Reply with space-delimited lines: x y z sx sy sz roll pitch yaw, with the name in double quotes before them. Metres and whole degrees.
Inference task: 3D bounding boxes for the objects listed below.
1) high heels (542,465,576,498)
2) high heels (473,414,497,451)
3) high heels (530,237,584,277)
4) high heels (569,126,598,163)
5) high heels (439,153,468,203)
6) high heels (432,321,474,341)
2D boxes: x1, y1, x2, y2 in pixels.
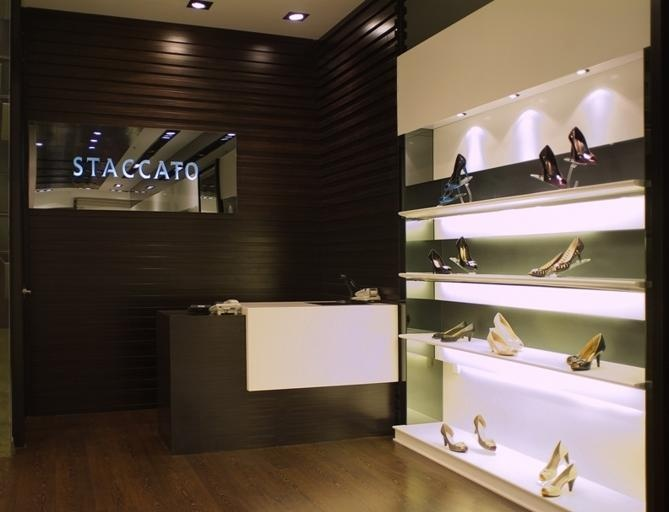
"high heels" 1.343 1.319 2.984 0.182 0.156 0.290 2 2 26
"high heels" 1.123 1.307 3.720 0.104 0.145 0.314 1 12 -15
"high heels" 1.378 0.011 3.106 0.235 0.245 0.216 1 2 -5
"high heels" 1.526 -0.687 3.061 0.148 0.248 0.215 2 3 26
"high heels" 0.967 -0.563 4.017 0.192 0.144 0.470 11 -40 6
"high heels" 0.953 0.598 3.917 0.211 0.100 0.161 0 -3 -2
